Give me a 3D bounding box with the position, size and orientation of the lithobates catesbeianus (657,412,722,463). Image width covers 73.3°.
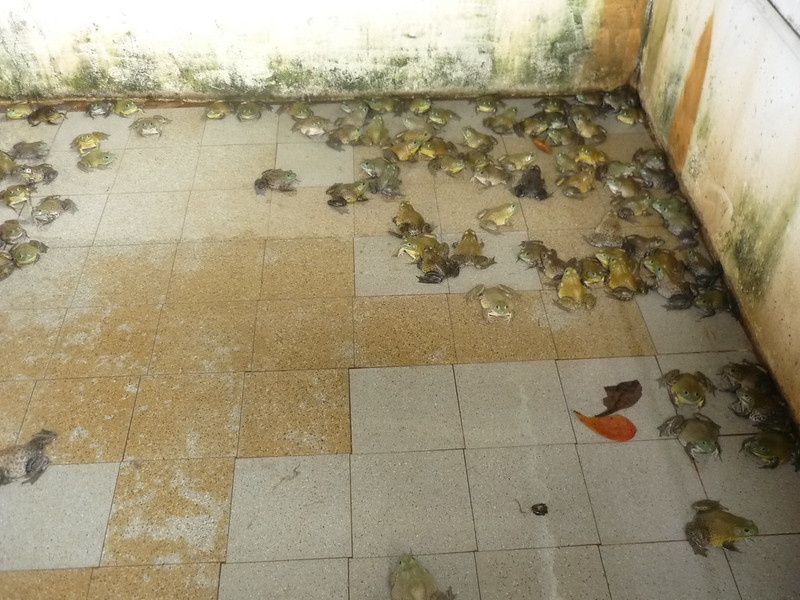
[{"bbox_3d":[1.886,0.880,3.476,0.304,0.089,0.270,-3,59,-3],"label":"lithobates catesbeianus"}]

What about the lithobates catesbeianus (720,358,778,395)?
[{"bbox_3d":[2.387,0.517,3.701,0.329,0.094,0.284,-2,49,-1],"label":"lithobates catesbeianus"}]

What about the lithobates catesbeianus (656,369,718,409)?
[{"bbox_3d":[1.951,0.582,3.625,0.304,0.096,0.243,3,68,6],"label":"lithobates catesbeianus"}]
